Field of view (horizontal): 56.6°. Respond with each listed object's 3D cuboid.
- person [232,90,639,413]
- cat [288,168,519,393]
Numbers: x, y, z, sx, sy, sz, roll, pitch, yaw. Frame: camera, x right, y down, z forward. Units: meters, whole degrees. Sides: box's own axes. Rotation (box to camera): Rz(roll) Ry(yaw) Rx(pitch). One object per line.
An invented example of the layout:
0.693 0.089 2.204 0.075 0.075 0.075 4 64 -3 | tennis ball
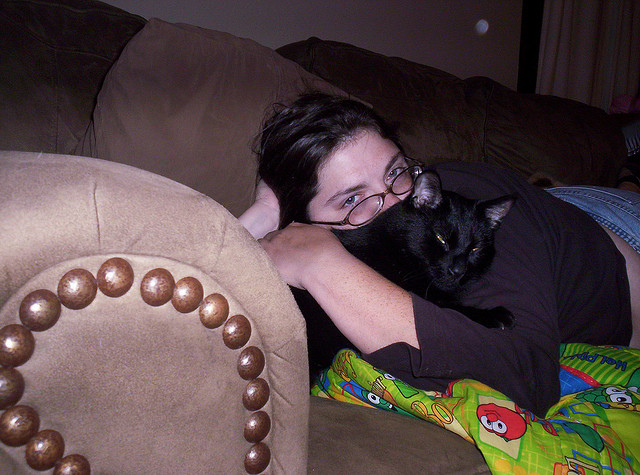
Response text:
0.453 0.056 1.929 1.231 0.514 0.910 29 -21 -18 | person
0.299 0.063 2.440 0.370 0.579 1.120 -6 10 -25 | cat
